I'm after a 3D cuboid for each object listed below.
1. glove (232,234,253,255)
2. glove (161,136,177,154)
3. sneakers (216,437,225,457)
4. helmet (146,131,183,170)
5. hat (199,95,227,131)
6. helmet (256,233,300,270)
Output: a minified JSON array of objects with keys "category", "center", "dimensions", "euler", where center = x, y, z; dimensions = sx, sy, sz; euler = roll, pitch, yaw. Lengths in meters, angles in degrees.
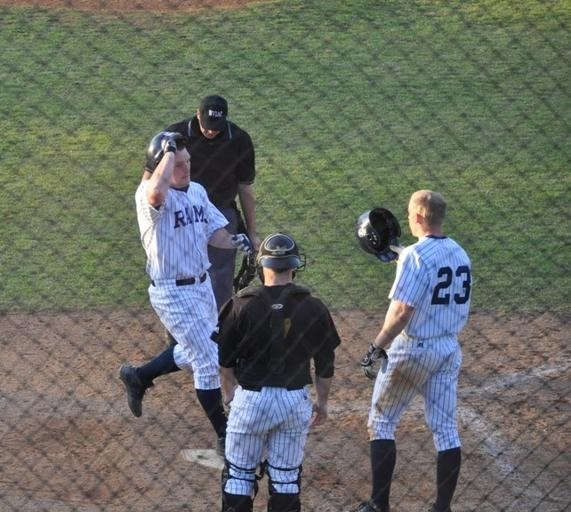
[{"category":"glove","center":[-0.390,-0.085,10.009],"dimensions":[0.080,0.185,0.142],"euler":[-41,-7,34]},{"category":"glove","center":[-0.952,-0.907,9.565],"dimensions":[0.124,0.196,0.161],"euler":[7,-4,-10]},{"category":"sneakers","center":[-0.534,1.583,9.678],"dimensions":[0.075,0.140,0.150],"euler":[5,20,-2]},{"category":"helmet","center":[-0.993,-0.862,9.655],"dimensions":[0.310,0.286,0.226],"euler":[20,46,3]},{"category":"hat","center":[-0.643,-1.250,10.351],"dimensions":[0.241,0.315,0.176],"euler":[3,-32,-12]},{"category":"helmet","center":[-0.040,-0.018,8.987],"dimensions":[0.244,0.159,0.313],"euler":[1,38,-1]}]
